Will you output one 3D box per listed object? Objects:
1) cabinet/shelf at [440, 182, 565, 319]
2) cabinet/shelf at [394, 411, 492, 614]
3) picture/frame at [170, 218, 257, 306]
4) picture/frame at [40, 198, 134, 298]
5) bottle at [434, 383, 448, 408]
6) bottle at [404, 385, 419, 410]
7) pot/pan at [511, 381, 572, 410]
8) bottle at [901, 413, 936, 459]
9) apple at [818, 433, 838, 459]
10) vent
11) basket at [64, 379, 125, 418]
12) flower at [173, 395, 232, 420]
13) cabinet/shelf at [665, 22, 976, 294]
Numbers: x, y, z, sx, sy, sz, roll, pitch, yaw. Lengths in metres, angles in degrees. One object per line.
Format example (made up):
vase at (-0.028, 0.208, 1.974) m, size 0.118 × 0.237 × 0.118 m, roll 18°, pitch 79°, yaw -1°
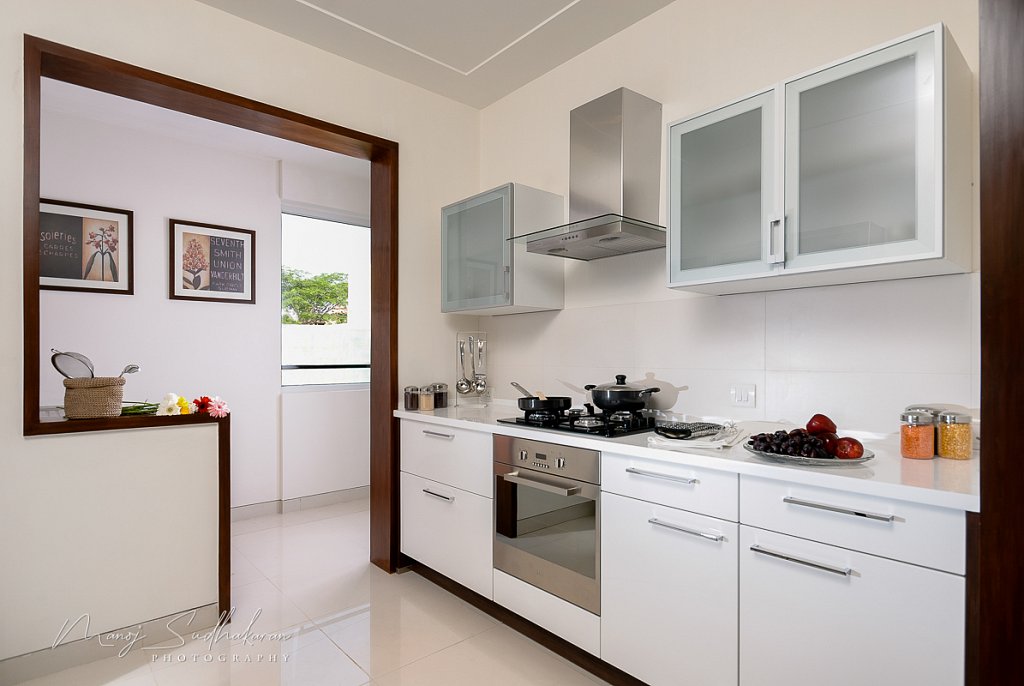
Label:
cabinet/shelf at (-0.121, -0.574, 4.777) m, size 0.483 × 0.798 × 0.853 m, roll 0°, pitch -1°, yaw -41°
cabinet/shelf at (-0.210, 0.970, 4.420) m, size 0.654 × 0.931 × 1.004 m, roll 1°, pitch 0°, yaw -37°
picture/frame at (-2.415, -0.641, 5.489) m, size 0.729 × 0.677 × 0.030 m, roll 2°, pitch -7°, yaw -35°
picture/frame at (-3.148, -0.697, 5.075) m, size 0.749 × 0.612 × 0.027 m, roll 5°, pitch 6°, yaw 5°
bottle at (-0.486, 0.357, 4.673) m, size 0.084 × 0.157 × 0.148 m, roll 0°, pitch 9°, yaw 1°
bottle at (-0.671, 0.370, 4.588) m, size 0.129 × 0.205 × 0.137 m, roll 0°, pitch -4°, yaw 0°
pot/pan at (0.131, 0.313, 4.026) m, size 0.182 × 0.114 × 0.302 m, roll 2°, pitch -5°, yaw -36°
bottle at (1.792, 0.403, 3.065) m, size 0.130 × 0.197 × 0.129 m, roll -3°, pitch 3°, yaw 0°
apple at (1.377, 0.447, 3.015) m, size 0.082 × 0.092 × 0.034 m, roll -8°, pitch 14°, yaw -39°
vent at (0.500, -0.808, 4.268) m, size 0.863 × 0.988 × 1.137 m, roll 5°, pitch -6°, yaw -40°
basket at (-2.252, 0.292, 3.710) m, size 0.241 × 0.189 × 0.239 m, roll 4°, pitch -11°, yaw -23°
flower at (-1.846, 0.361, 4.047) m, size 0.276 × 0.114 × 0.385 m, roll -5°, pitch 10°, yaw -28°
cabinet/shelf at (1.484, -0.778, 3.495) m, size 0.480 × 0.962 × 1.454 m, roll 2°, pitch -3°, yaw -36°
